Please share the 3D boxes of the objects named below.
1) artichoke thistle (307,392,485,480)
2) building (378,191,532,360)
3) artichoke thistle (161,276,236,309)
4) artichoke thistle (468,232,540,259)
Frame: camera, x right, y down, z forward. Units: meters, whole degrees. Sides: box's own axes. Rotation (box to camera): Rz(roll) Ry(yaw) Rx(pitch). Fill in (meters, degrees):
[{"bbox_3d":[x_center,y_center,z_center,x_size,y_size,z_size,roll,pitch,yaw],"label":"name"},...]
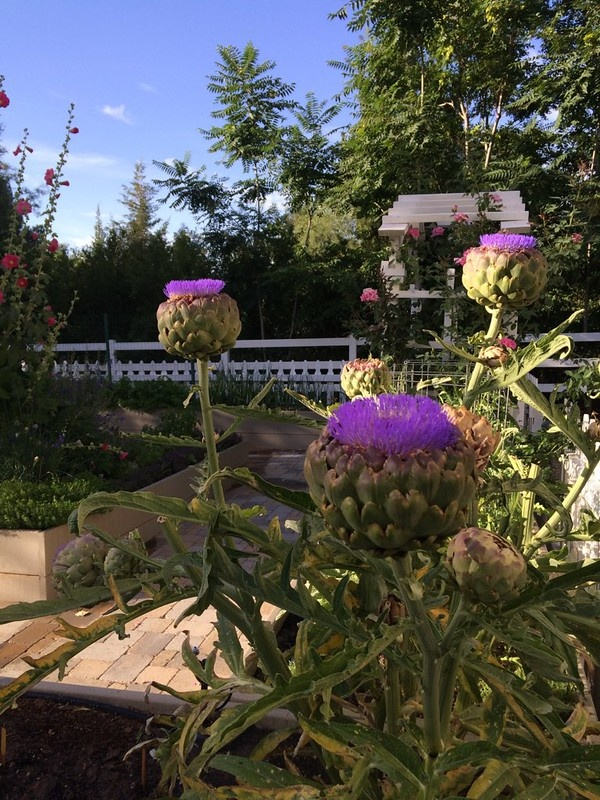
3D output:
[{"bbox_3d":[0.107,0.029,0.757,0.164,0.067,0.162,1,-3,-11],"label":"artichoke thistle"},{"bbox_3d":[1.743,-1.782,8.106,1.882,1.923,1.971,4,21,14],"label":"building"},{"bbox_3d":[-0.238,-0.250,1.419,0.128,0.059,0.217,-3,8,-9],"label":"artichoke thistle"},{"bbox_3d":[0.419,-0.321,1.301,0.097,0.042,0.099,-2,5,-6],"label":"artichoke thistle"}]
